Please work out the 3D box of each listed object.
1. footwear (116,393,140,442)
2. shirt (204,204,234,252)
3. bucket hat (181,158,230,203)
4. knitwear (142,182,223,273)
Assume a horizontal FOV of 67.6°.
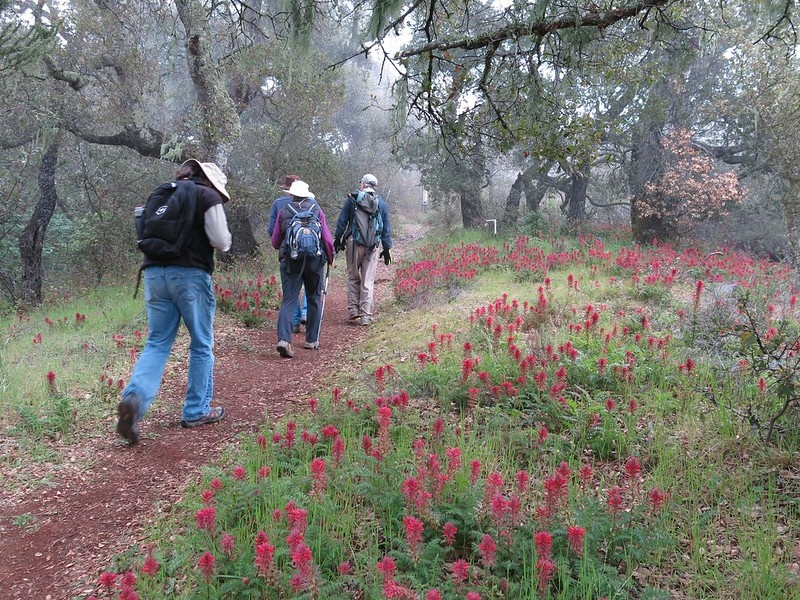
[{"bbox_3d":[-2.939,1.317,6.505,0.195,0.645,0.248,0,18,-12],"label":"footwear"},{"bbox_3d":[-2.057,-0.812,6.842,0.326,0.491,0.173,12,26,36],"label":"shirt"},{"bbox_3d":[-2.183,-1.410,6.922,0.428,0.209,0.584,19,-28,40],"label":"bucket hat"},{"bbox_3d":[-2.558,-0.861,6.752,0.916,1.061,0.563,-1,-8,-17],"label":"knitwear"}]
